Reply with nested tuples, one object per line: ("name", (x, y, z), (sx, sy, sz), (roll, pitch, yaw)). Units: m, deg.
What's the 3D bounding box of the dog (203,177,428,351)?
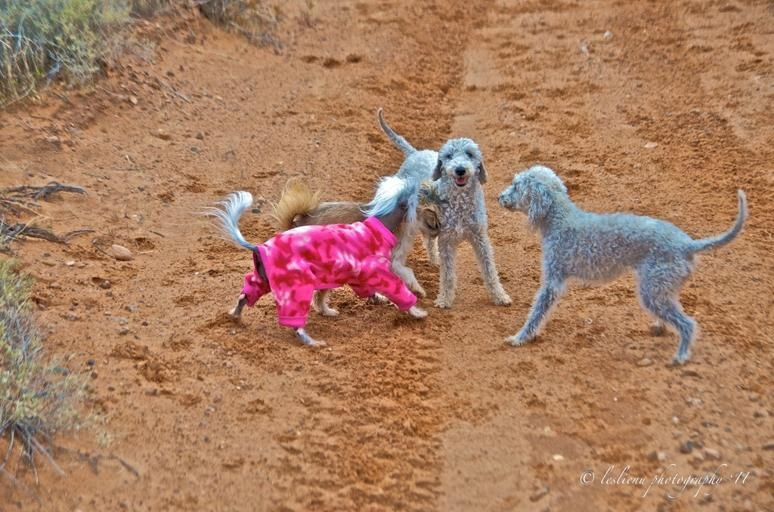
("dog", (-0.680, -0.028, 9.342), (2.576, 1.023, 1.774), (-8, -61, -21))
